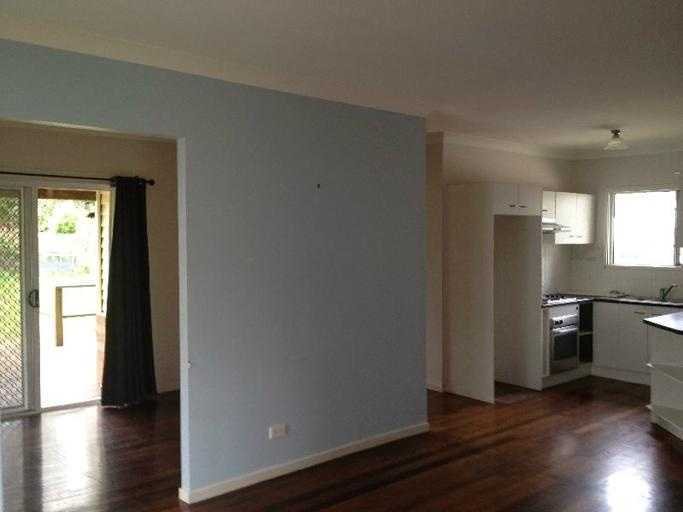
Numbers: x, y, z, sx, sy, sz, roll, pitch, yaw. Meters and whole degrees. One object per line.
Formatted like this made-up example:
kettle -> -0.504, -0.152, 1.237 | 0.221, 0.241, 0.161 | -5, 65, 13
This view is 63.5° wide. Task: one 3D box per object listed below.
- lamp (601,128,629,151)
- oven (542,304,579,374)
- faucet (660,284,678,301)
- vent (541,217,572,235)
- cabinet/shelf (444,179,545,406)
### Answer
lamp -> 3.435, -1.488, 6.961 | 0.289, 0.332, 0.320 | 0, 0, -2
oven -> 2.888, 1.133, 7.594 | 0.577, 0.831, 0.558 | -4, 5, -28
faucet -> 4.452, 0.484, 7.631 | 0.295, 0.209, 0.195 | -5, 8, -38
vent -> 2.914, -0.422, 7.601 | 0.245, 0.230, 0.956 | 5, 8, 37
cabinet/shelf -> 1.942, 0.412, 7.092 | 1.120, 2.660, 0.803 | -4, 7, -32
